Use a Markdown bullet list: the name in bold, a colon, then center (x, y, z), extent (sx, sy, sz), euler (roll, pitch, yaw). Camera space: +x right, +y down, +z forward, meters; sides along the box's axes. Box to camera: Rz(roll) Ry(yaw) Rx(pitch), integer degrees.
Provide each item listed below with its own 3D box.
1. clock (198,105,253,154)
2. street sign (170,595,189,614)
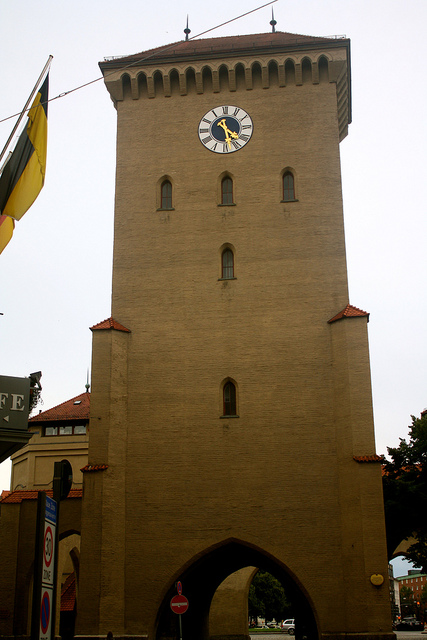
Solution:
- **clock**: center (0.475, -6.423, 25.600), extent (1.874, 1.883, 0.202), euler (-1, -22, 4)
- **street sign**: center (-0.692, 5.935, 15.807), extent (0.378, 0.386, 0.385), euler (-1, -8, 2)
